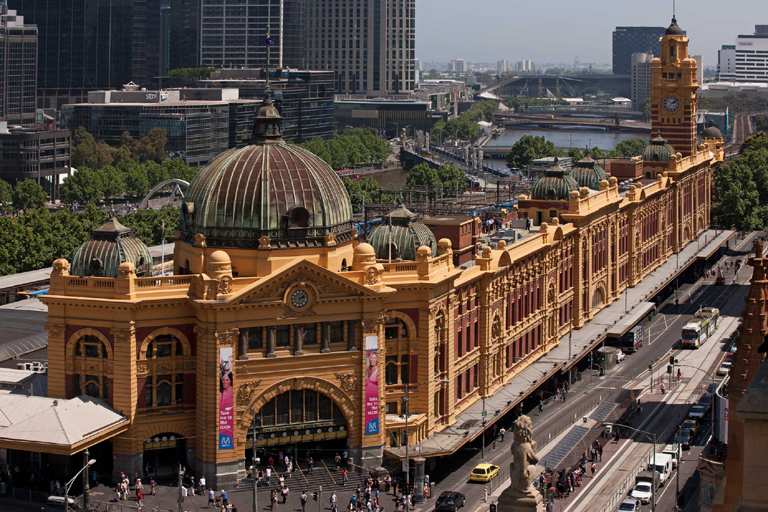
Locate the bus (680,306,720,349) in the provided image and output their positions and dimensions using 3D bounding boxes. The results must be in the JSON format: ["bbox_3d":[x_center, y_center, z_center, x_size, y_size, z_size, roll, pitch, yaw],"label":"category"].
[{"bbox_3d":[53.870,11.820,277.868,3.142,4.153,14.258,2,11,22],"label":"bus"}]

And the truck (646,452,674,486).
[{"bbox_3d":[37.921,28.983,224.277,2.532,2.206,4.265,0,0,24],"label":"truck"}]
